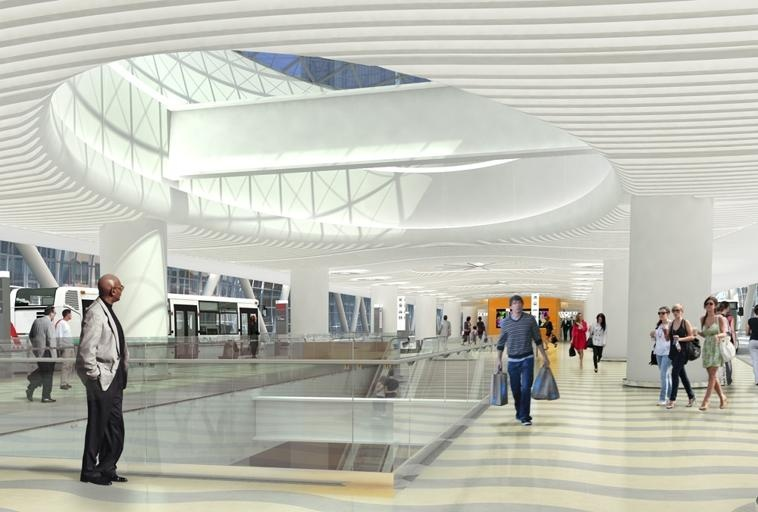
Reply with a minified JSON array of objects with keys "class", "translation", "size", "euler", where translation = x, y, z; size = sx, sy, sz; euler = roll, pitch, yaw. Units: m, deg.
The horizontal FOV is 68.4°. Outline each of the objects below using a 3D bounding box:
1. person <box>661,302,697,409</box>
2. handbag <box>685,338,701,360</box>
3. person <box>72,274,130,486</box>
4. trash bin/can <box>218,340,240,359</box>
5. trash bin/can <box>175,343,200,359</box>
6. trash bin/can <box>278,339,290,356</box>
[{"class":"person","translation":[5.824,1.914,10.641],"size":[0.603,1.952,0.968],"euler":[-2,-7,27]},{"class":"handbag","translation":[5.922,1.708,10.408],"size":[0.414,0.368,0.163],"euler":[6,-8,-38]},{"class":"person","translation":[-3.049,1.377,6.200],"size":[0.518,2.299,0.523],"euler":[3,-6,-24]},{"class":"trash bin/can","translation":[-4.303,2.639,15.915],"size":[0.374,0.445,0.899],"euler":[6,-8,-42]},{"class":"trash bin/can","translation":[-5.070,2.473,14.740],"size":[0.569,0.391,1.563],"euler":[3,-7,-18]},{"class":"trash bin/can","translation":[-3.392,3.285,19.947],"size":[0.350,0.487,0.497],"euler":[-1,13,13]}]
